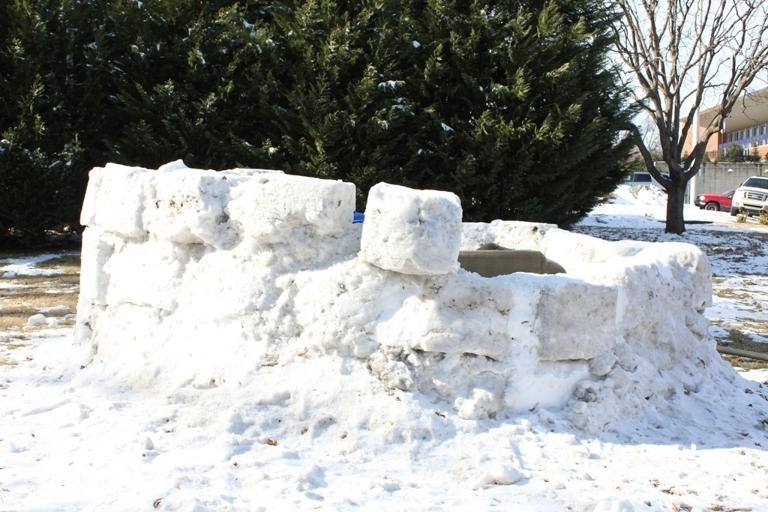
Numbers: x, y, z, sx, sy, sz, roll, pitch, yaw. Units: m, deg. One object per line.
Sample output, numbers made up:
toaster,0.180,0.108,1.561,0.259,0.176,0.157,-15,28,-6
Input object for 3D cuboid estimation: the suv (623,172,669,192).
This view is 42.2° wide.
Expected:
suv,10.827,-3.138,41.357,1.365,0.862,2.244,-1,11,8
